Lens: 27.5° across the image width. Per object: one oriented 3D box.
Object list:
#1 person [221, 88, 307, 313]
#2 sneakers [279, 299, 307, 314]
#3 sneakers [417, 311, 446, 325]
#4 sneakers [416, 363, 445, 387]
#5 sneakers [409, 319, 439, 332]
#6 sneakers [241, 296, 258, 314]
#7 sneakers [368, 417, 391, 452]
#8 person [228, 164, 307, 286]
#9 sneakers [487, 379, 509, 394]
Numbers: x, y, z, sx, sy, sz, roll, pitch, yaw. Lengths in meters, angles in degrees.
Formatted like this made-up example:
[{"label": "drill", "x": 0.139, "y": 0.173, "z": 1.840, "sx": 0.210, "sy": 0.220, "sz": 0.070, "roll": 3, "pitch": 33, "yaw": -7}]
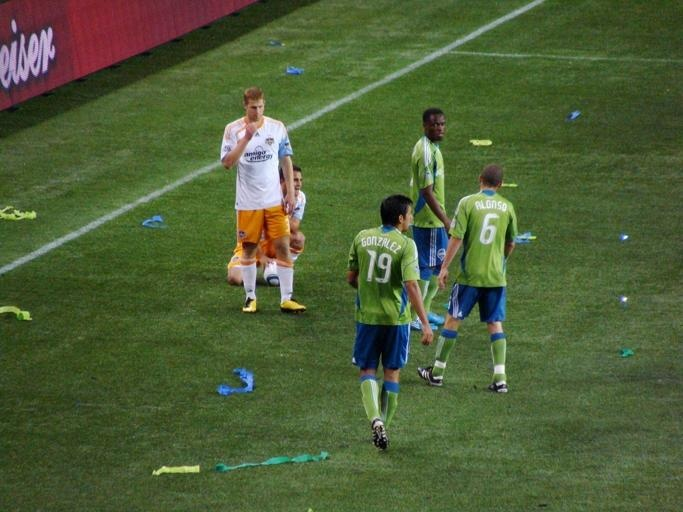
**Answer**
[{"label": "person", "x": -0.962, "y": -0.621, "z": 17.575, "sx": 1.146, "sy": 2.778, "sz": 0.937, "roll": -1, "pitch": 3, "yaw": -2}, {"label": "sneakers", "x": -0.619, "y": 0.678, "z": 17.690, "sx": 0.295, "sy": 0.134, "sz": 0.160, "roll": -1, "pitch": 2, "yaw": 22}, {"label": "sneakers", "x": 1.205, "y": 0.820, "z": 17.785, "sx": 0.417, "sy": 0.170, "sz": 0.145, "roll": -2, "pitch": 19, "yaw": 9}, {"label": "sneakers", "x": 1.104, "y": 1.420, "z": 16.518, "sx": 0.140, "sy": 0.197, "sz": 0.399, "roll": -8, "pitch": 27, "yaw": -41}, {"label": "sneakers", "x": 1.079, "y": 0.910, "z": 17.647, "sx": 0.427, "sy": 0.167, "sz": 0.136, "roll": -2, "pitch": 25, "yaw": 1}, {"label": "sneakers", "x": -1.168, "y": 0.662, "z": 17.725, "sx": 0.137, "sy": 0.097, "sz": 0.236, "roll": 0, "pitch": 11, "yaw": 4}, {"label": "sneakers", "x": 0.429, "y": 1.965, "z": 15.314, "sx": 0.179, "sy": 0.373, "sz": 0.168, "roll": -15, "pitch": 36, "yaw": 0}, {"label": "person", "x": -0.920, "y": -0.384, "z": 18.488, "sx": 1.068, "sy": 1.672, "sz": 0.960, "roll": 22, "pitch": 16, "yaw": 41}, {"label": "sneakers", "x": 1.882, "y": 1.556, "z": 16.277, "sx": 0.098, "sy": 0.107, "sz": 0.258, "roll": -2, "pitch": 9, "yaw": -16}]
